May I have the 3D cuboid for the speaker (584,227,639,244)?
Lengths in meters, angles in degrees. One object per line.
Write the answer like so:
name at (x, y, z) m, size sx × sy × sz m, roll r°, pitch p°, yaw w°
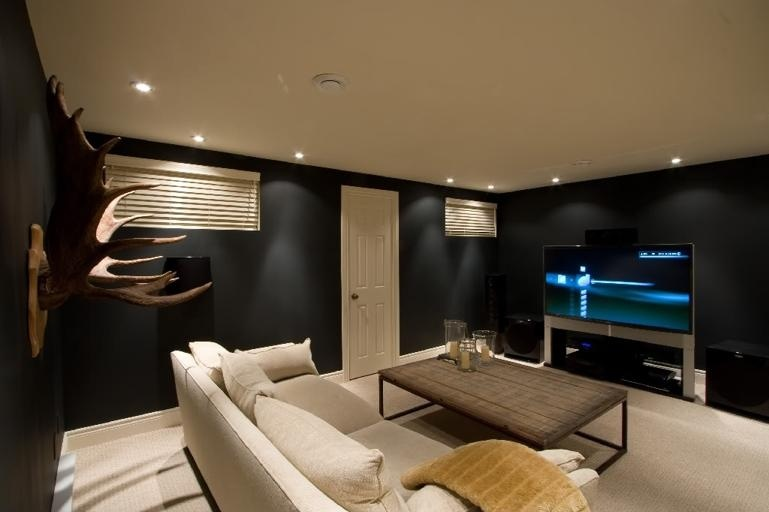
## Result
speaker at (2.751, -0.243, 5.744) m, size 0.278 × 0.192 × 0.383 m, roll 4°, pitch -6°, yaw -27°

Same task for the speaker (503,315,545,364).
speaker at (1.941, 1.127, 6.570) m, size 0.507 × 0.559 × 0.401 m, roll 3°, pitch 10°, yaw 33°

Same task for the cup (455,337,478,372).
cup at (0.833, 1.014, 4.884) m, size 0.195 × 0.326 × 0.199 m, roll 3°, pitch 5°, yaw 0°

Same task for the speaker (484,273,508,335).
speaker at (1.656, 0.704, 7.075) m, size 0.267 × 0.874 × 0.324 m, roll -2°, pitch 6°, yaw -29°
